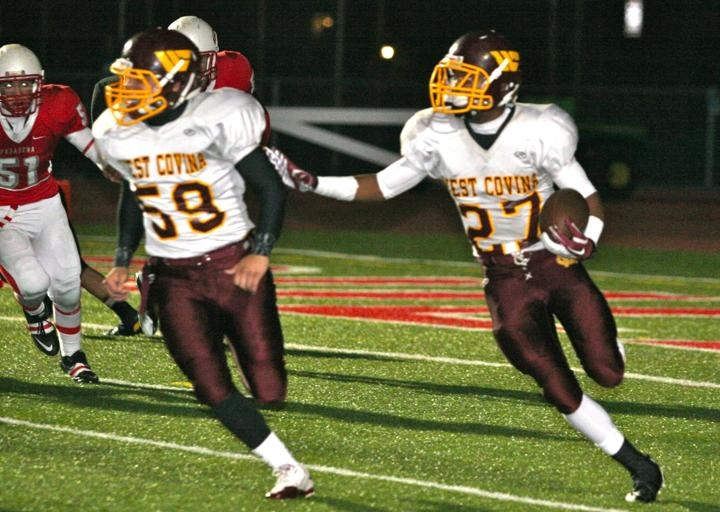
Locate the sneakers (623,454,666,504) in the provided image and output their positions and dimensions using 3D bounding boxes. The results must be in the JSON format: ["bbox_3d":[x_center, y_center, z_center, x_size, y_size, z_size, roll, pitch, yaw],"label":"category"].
[{"bbox_3d":[1.203,0.938,3.665,0.106,0.105,0.270,-1,21,19],"label":"sneakers"}]

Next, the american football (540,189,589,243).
[{"bbox_3d":[0.864,-0.181,3.644,0.190,0.175,0.241,-15,0,34],"label":"american football"}]

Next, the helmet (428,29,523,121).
[{"bbox_3d":[0.556,-0.874,4.039,0.489,0.319,0.372,-19,27,-37],"label":"helmet"}]

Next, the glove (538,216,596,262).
[{"bbox_3d":[0.853,-0.097,3.616,0.235,0.059,0.194,-9,16,46],"label":"glove"}]

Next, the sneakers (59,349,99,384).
[{"bbox_3d":[-1.649,0.668,5.189,0.123,0.128,0.350,-6,12,-44],"label":"sneakers"}]

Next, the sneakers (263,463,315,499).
[{"bbox_3d":[-0.316,0.931,3.524,0.270,0.137,0.103,1,-22,-44],"label":"sneakers"}]
